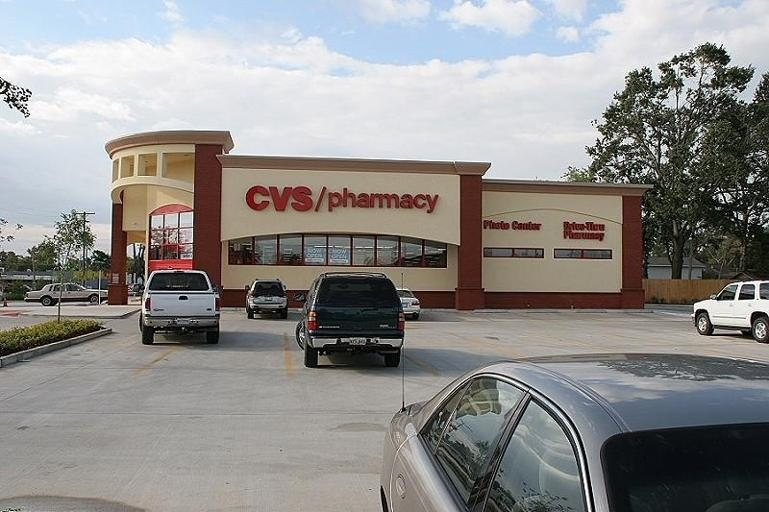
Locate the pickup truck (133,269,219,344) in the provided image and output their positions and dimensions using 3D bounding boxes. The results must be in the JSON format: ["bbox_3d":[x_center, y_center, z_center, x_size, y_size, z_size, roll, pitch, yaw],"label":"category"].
[{"bbox_3d":[-7.098,1.607,19.694,2.906,2.344,5.558,2,-11,-18],"label":"pickup truck"}]

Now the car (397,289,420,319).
[{"bbox_3d":[1.272,2.498,29.717,1.044,0.798,2.442,0,4,-2],"label":"car"}]

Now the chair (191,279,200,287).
[{"bbox_3d":[-5.970,0.858,17.943,0.286,0.254,0.298,1,-1,-15],"label":"chair"}]

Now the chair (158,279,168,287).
[{"bbox_3d":[-7.056,0.840,17.861,0.247,0.225,0.334,0,-2,18],"label":"chair"}]
